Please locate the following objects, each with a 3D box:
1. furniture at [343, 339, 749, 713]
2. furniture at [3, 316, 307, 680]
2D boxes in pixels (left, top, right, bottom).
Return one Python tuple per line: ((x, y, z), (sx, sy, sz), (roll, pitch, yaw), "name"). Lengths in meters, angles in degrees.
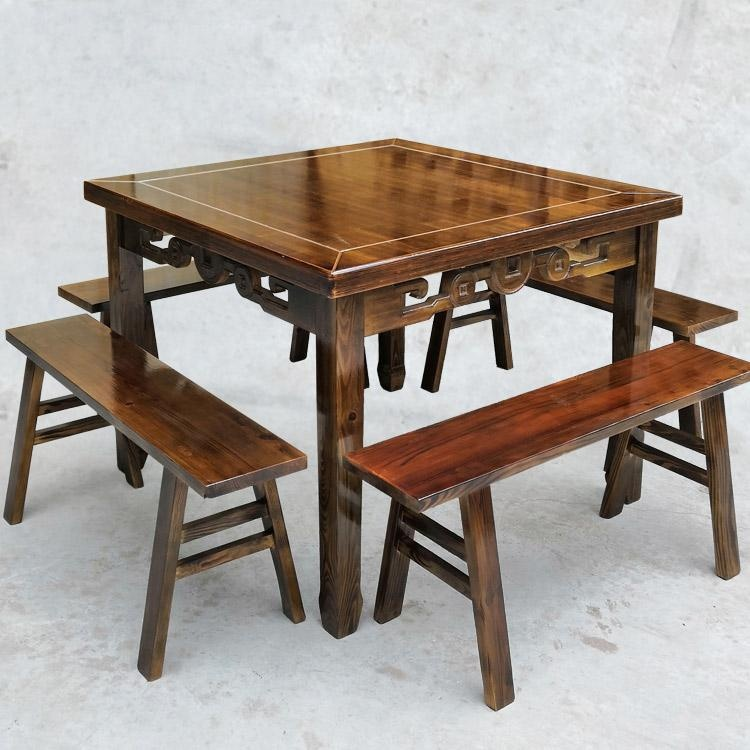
((0.519, 0.458, 2.176), (1.046, 0.411, 0.401), (-15, 30, -32), "furniture")
((-0.698, 0.395, 2.308), (1.087, 0.440, 0.421), (24, 31, 37), "furniture")
